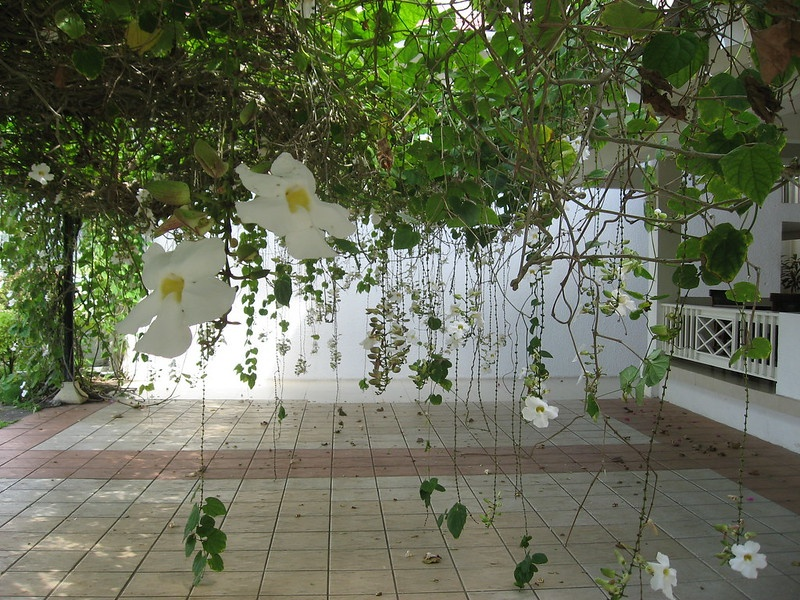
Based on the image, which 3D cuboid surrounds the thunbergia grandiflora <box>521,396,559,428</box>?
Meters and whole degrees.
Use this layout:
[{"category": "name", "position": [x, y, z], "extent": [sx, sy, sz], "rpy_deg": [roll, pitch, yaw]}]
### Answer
[{"category": "thunbergia grandiflora", "position": [0.544, 0.435, 1.912], "extent": [0.105, 0.131, 0.300], "rpy_deg": [-1, 0, 20]}]
